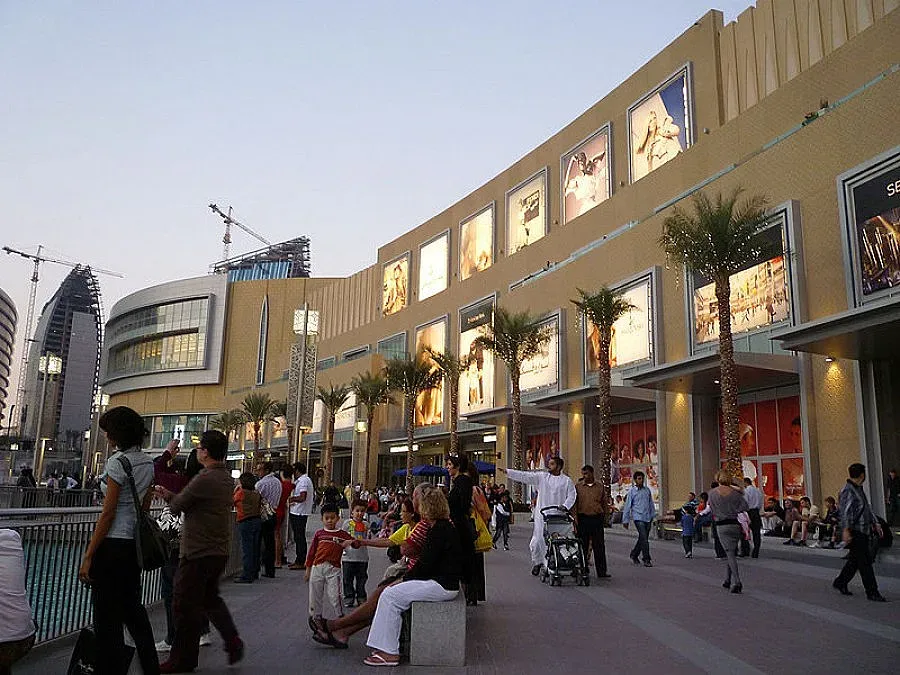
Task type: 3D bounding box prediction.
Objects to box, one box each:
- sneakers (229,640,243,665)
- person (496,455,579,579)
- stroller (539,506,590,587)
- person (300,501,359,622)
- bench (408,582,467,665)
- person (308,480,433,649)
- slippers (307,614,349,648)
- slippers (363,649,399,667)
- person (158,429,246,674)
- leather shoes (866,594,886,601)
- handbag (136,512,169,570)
[{"bbox_3d":[-2.100,3.042,6.121,0.158,0.233,0.174,7,-16,-30],"label":"sneakers"},{"bbox_3d":[1.656,3.341,12.015,1.360,2.330,0.708,1,-41,10],"label":"person"},{"bbox_3d":[2.039,3.891,11.748,0.754,1.562,1.321,2,-44,-3],"label":"stroller"},{"bbox_3d":[-1.501,2.821,7.938,0.626,1.435,0.474,-1,2,-12],"label":"person"},{"bbox_3d":[-0.133,3.085,6.844,0.469,0.616,0.969,0,-13,0],"label":"bench"},{"bbox_3d":[-0.893,2.635,7.263,1.335,1.580,0.783,2,-16,-9],"label":"person"},{"bbox_3d":[-1.379,3.308,7.035,0.434,0.251,0.130,26,-54,-32],"label":"slippers"},{"bbox_3d":[-0.701,3.254,6.425,0.274,0.090,0.157,5,-7,3],"label":"slippers"},{"bbox_3d":[-2.389,2.014,6.154,0.707,2.251,0.353,5,-15,-26],"label":"person"},{"bbox_3d":[6.654,4.010,9.815,0.231,0.112,0.098,-12,-13,39],"label":"leather shoes"},{"bbox_3d":[-2.660,1.745,5.516,0.216,0.548,0.482,-9,-2,-24],"label":"handbag"}]
